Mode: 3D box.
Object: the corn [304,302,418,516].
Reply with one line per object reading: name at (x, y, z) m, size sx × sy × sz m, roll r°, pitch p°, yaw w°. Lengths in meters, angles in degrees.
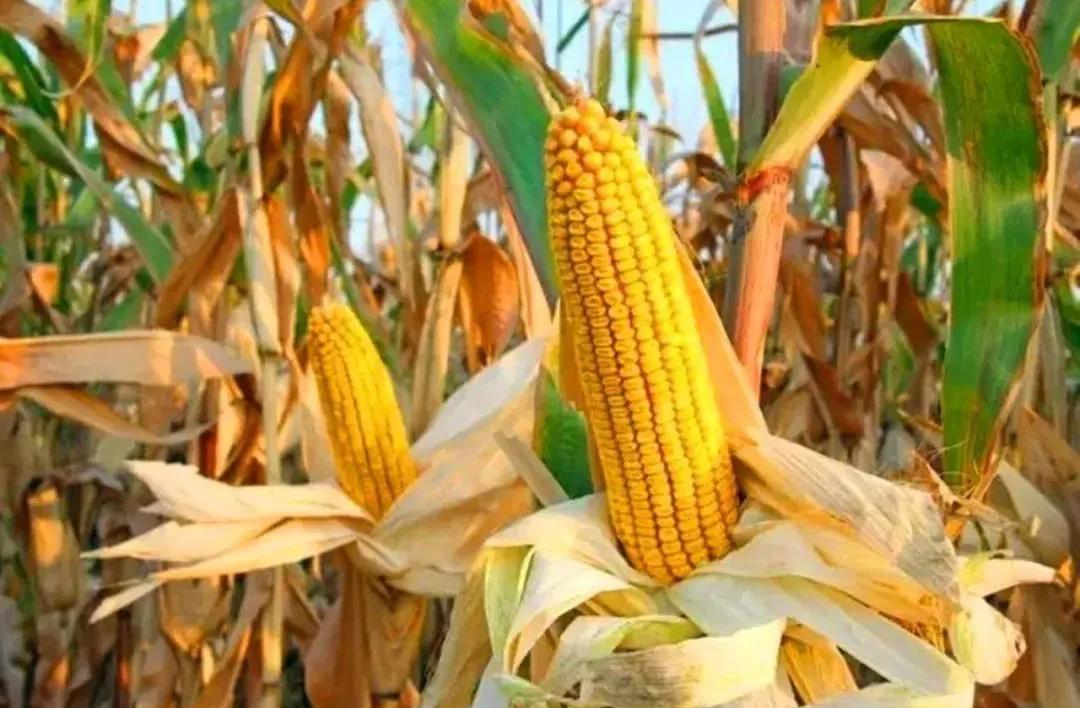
corn at (-0.617, 0.194, 5.724) m, size 0.245 × 0.953 × 0.255 m, roll -15°, pitch 2°, yaw -2°
